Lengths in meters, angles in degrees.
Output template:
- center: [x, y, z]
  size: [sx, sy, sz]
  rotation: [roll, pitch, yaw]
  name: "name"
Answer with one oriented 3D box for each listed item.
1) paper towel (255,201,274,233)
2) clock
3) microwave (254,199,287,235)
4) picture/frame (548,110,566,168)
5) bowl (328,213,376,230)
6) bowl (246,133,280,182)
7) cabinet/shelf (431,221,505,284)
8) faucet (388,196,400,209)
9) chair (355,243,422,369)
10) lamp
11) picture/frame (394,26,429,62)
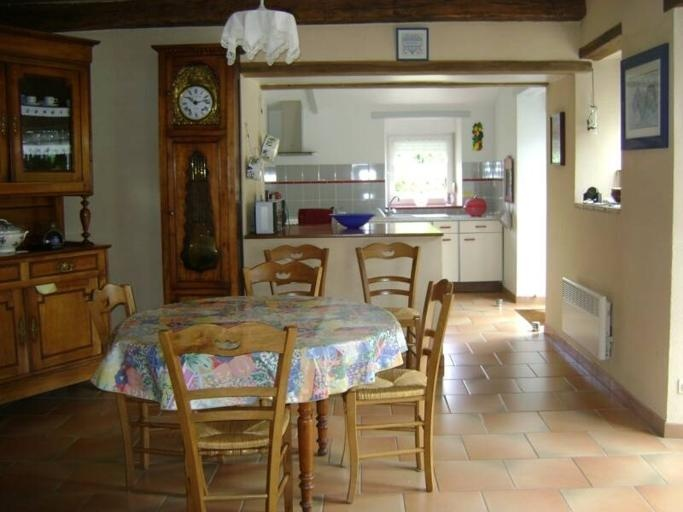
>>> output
- center: [-0.713, -0.353, 5.137]
  size: [0.178, 0.297, 0.156]
  rotation: [-2, 11, -8]
  name: "paper towel"
- center: [-1.233, -0.688, 4.748]
  size: [0.660, 2.199, 0.249]
  rotation: [0, 11, 4]
  name: "clock"
- center: [-0.732, -0.432, 5.562]
  size: [0.298, 0.297, 0.845]
  rotation: [-2, 11, -6]
  name: "microwave"
- center: [2.008, -1.091, 5.164]
  size: [0.065, 0.493, 0.526]
  rotation: [2, 12, 32]
  name: "picture/frame"
- center: [0.132, -0.351, 5.557]
  size: [0.367, 0.164, 0.388]
  rotation: [-1, 10, 0]
  name: "bowl"
- center: [-0.755, -0.964, 5.359]
  size: [0.268, 0.410, 0.492]
  rotation: [-1, 10, 1]
  name: "bowl"
- center: [1.703, -0.051, 7.693]
  size: [0.968, 0.865, 0.558]
  rotation: [-1, 1, -7]
  name: "cabinet/shelf"
- center: [0.794, -0.806, 8.279]
  size: [0.177, 0.198, 0.232]
  rotation: [0, 10, 7]
  name: "faucet"
- center: [0.367, 0.426, 4.456]
  size: [0.629, 1.020, 0.572]
  rotation: [-1, 4, 27]
  name: "chair"
- center: [-0.463, -1.292, 3.138]
  size: [0.428, 0.356, 0.204]
  rotation: [-3, 11, -10]
  name: "lamp"
- center: [0.622, -1.866, 4.794]
  size: [0.304, 0.281, 0.031]
  rotation: [-1, 7, 0]
  name: "picture/frame"
